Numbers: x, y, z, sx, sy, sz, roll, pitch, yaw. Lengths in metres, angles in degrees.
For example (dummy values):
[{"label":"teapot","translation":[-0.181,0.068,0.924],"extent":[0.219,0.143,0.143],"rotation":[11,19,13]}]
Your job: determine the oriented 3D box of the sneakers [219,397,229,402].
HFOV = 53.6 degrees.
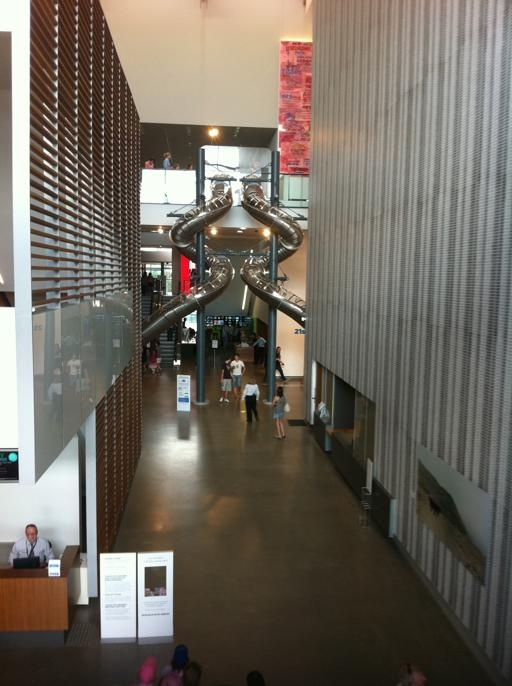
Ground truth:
[{"label":"sneakers","translation":[-0.966,1.730,15.443],"extent":[0.126,0.130,0.296],"rotation":[-7,-18,45]}]
